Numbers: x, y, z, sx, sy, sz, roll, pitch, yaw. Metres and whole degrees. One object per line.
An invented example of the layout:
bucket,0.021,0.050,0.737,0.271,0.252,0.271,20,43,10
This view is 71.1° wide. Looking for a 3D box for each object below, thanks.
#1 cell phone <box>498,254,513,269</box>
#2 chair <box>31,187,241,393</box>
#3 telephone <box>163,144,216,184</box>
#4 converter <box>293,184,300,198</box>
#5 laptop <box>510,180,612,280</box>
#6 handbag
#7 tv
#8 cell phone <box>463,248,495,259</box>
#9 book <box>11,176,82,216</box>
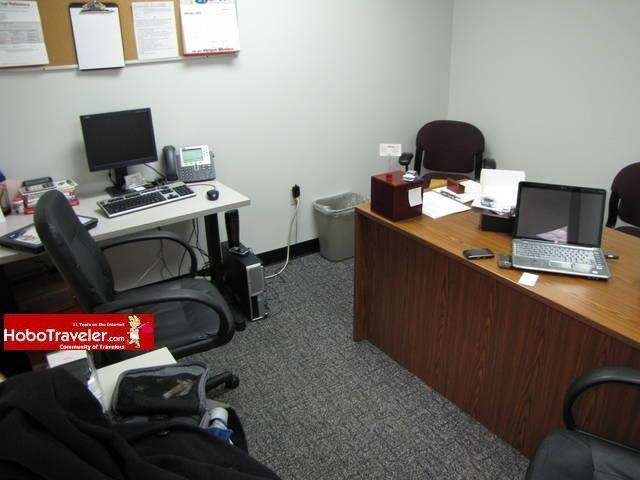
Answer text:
cell phone,0.831,0.097,2.008,0.060,0.038,0.094,5,24,20
chair,-0.759,0.142,2.454,1.006,1.261,0.898,-7,29,-19
telephone,-0.892,-0.537,3.097,0.320,0.237,0.181,-7,34,-15
converter,-0.193,-0.390,3.550,0.055,0.103,0.056,-16,32,-29
laptop,1.075,0.007,2.102,0.453,0.359,0.431,8,32,11
handbag,-0.562,0.539,1.569,0.301,0.127,0.228,-7,23,-9
tv,-1.294,-0.559,2.839,0.456,0.551,0.175,-15,37,-31
cell phone,0.730,0.063,2.077,0.143,0.027,0.087,-6,23,-5
book,-1.650,-0.290,2.664,0.352,0.156,0.350,-22,38,-40
